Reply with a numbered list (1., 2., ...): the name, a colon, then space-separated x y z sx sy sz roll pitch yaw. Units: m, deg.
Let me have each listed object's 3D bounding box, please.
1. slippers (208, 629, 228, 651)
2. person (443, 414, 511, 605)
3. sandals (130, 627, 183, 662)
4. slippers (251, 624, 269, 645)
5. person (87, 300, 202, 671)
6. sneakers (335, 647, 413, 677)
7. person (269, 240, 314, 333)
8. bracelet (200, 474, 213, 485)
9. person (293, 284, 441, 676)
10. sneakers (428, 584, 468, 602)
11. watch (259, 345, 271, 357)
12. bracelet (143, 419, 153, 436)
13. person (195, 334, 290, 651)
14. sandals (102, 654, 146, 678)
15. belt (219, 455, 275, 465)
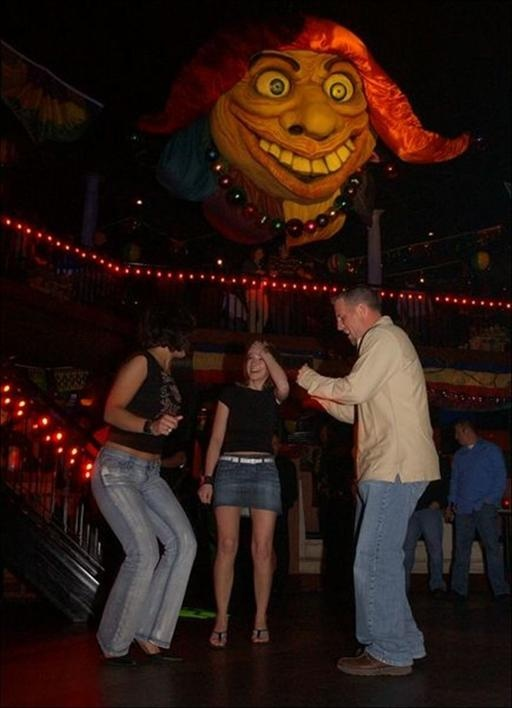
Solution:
1. slippers: -0.230 1.710 3.933 0.146 0.093 0.262 2 -14 0
2. person: 2.333 1.650 6.960 0.602 1.829 0.857 2 -3 14
3. sandals: -0.572 1.598 3.600 0.329 0.086 0.117 -2 -11 33
4. slippers: 0.024 1.754 4.106 0.118 0.117 0.188 2 -3 2
5. person: -0.617 0.699 3.601 0.573 1.962 0.500 2 -3 13
6. sneakers: 0.593 1.554 3.306 0.353 0.128 0.132 5 -10 4
7. person: 0.578 -1.171 11.794 1.274 1.474 0.390 2 1 -20
8. bracelet: -0.305 0.804 4.173 0.080 0.070 0.047 2 -5 17
9. person: 0.629 0.657 3.575 0.535 2.071 0.609 6 -4 -40
10. sneakers: 1.906 2.384 6.581 0.379 0.147 0.145 11 -13 21
11. watch: 0.051 -0.021 4.397 0.090 0.076 0.025 4 -34 -14
12. bracelet: -0.567 0.383 3.434 0.057 0.053 0.067 4 -31 -5
13. person: -0.083 0.874 4.213 0.583 1.934 0.395 5 -4 -34
14. sandals: -0.678 1.587 3.350 0.210 0.053 0.329 3 -3 -10
15. belt: -0.054 0.670 4.171 0.326 0.052 0.089 3 -3 -8
